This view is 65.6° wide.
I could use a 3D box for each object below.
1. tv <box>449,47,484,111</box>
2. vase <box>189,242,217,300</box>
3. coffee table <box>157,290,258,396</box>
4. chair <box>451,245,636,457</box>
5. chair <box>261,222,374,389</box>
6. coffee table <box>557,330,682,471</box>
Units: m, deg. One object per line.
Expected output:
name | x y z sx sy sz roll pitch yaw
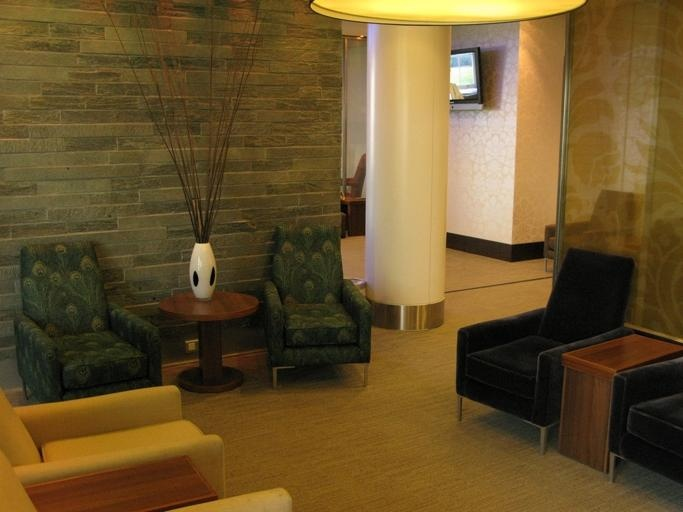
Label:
tv | 1.922 -2.801 8.373 0.237 0.964 0.655 -15 17 -32
vase | -1.110 0.121 4.230 0.198 0.454 0.165 -13 16 -26
coffee table | -1.063 0.667 4.284 0.873 0.609 0.814 -4 14 -23
chair | 1.410 0.539 3.665 1.122 0.953 0.917 -16 13 -37
chair | -0.230 0.362 4.565 0.992 1.046 1.096 2 18 -1
coffee table | 1.598 0.871 3.076 0.700 0.569 0.388 -12 18 -37
